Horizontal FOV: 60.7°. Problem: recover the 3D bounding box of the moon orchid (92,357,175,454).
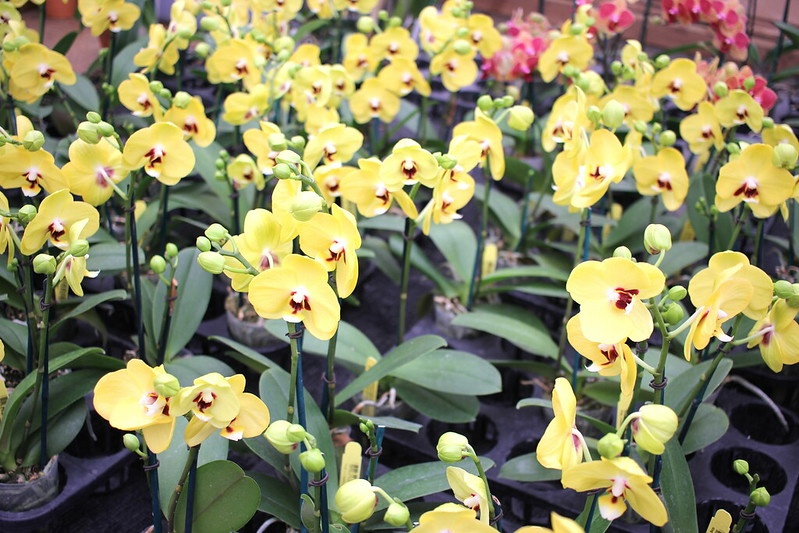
[{"bbox_3d":[-0.447,0.234,1.151,0.136,0.146,0.096,3,24,-15],"label":"moon orchid"}]
